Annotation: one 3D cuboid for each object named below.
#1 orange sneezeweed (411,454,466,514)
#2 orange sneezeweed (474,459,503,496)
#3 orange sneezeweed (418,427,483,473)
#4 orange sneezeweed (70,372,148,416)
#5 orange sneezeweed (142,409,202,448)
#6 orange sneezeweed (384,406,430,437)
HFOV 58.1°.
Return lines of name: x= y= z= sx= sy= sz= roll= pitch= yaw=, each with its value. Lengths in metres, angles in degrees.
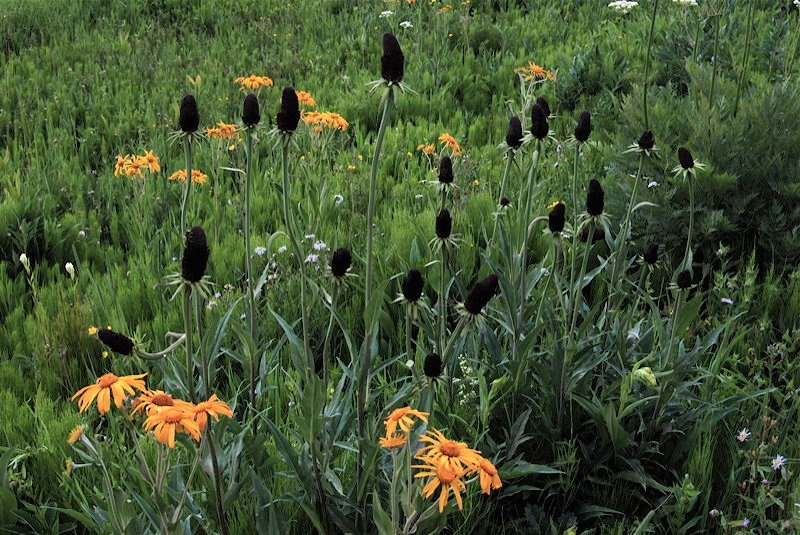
orange sneezeweed: x=0.239 y=1.103 z=3.917 sx=0.291 sy=0.348 sz=0.112 roll=32 pitch=32 yaw=16
orange sneezeweed: x=0.493 y=1.134 z=3.911 sx=0.118 sy=0.221 sz=0.201 roll=5 pitch=14 yaw=29
orange sneezeweed: x=0.264 y=1.002 z=3.867 sx=0.235 sy=0.079 sz=0.326 roll=14 pitch=18 yaw=-9
orange sneezeweed: x=-1.614 y=0.684 z=3.997 sx=0.312 sy=0.164 sz=0.390 roll=-5 pitch=12 yaw=-3
orange sneezeweed: x=-1.229 y=0.856 z=3.872 sx=0.284 sy=0.202 sz=0.191 roll=-8 pitch=14 yaw=-23
orange sneezeweed: x=0.050 y=0.899 z=4.025 sx=0.210 sy=0.100 sz=0.214 roll=-33 pitch=27 yaw=-19
